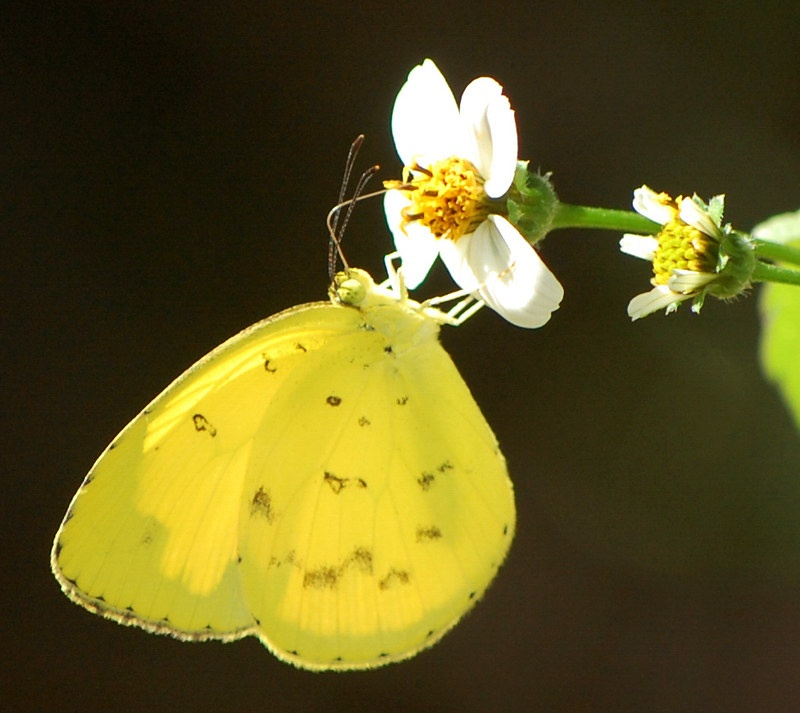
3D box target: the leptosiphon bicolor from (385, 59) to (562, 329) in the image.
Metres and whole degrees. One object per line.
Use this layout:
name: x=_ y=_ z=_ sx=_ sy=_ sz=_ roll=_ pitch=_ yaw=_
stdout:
leptosiphon bicolor: x=0.118 y=-0.303 z=1.995 sx=0.425 sy=0.646 sz=0.169 roll=-33 pitch=-35 yaw=33

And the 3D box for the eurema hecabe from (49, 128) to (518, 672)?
eurema hecabe: x=-0.259 y=0.305 z=2.266 sx=1.024 sy=0.721 sz=0.638 roll=-19 pitch=-31 yaw=6
